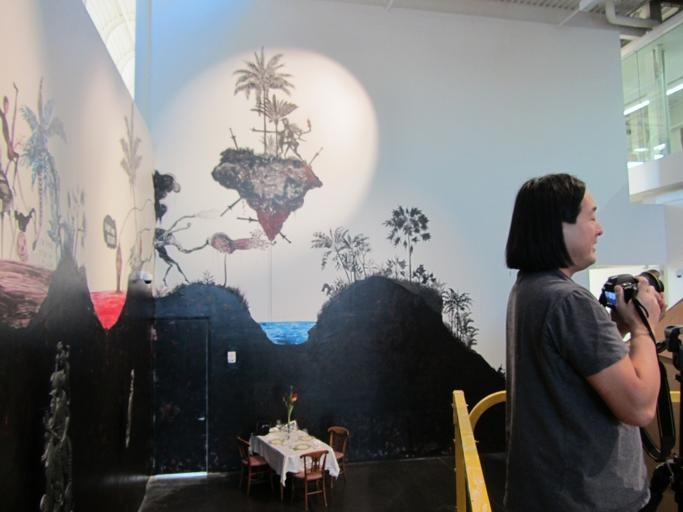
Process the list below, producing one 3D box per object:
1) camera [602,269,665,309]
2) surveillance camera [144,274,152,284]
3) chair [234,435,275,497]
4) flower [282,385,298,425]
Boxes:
[{"bbox_3d":[1.524,0.163,2.857,0.263,0.173,0.264,-15,5,-7],"label":"camera"},{"bbox_3d":[-2.327,0.267,6.578,0.082,0.116,0.098,4,4,26],"label":"surveillance camera"},{"bbox_3d":[-1.087,2.525,6.777,0.389,0.675,0.379,-1,1,-39],"label":"chair"},{"bbox_3d":[-0.654,1.907,7.100,0.201,0.458,0.158,-1,-8,-7],"label":"flower"}]
